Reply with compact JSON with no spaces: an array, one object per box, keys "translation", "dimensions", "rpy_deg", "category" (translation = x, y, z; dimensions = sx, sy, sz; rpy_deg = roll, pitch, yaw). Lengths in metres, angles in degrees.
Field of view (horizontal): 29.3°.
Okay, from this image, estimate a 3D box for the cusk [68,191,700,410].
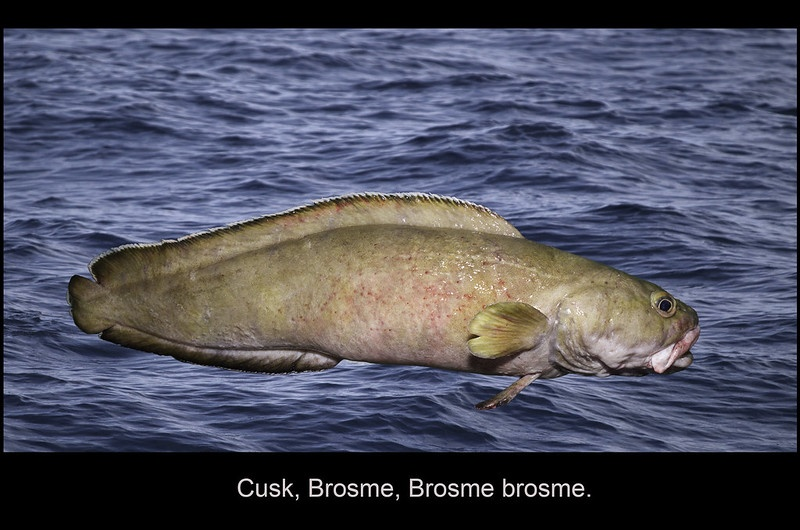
[{"translation":[-0.090,0.158,8.494],"dimensions":[3.381,0.706,0.990],"rpy_deg":[8,65,5],"category":"cusk"}]
